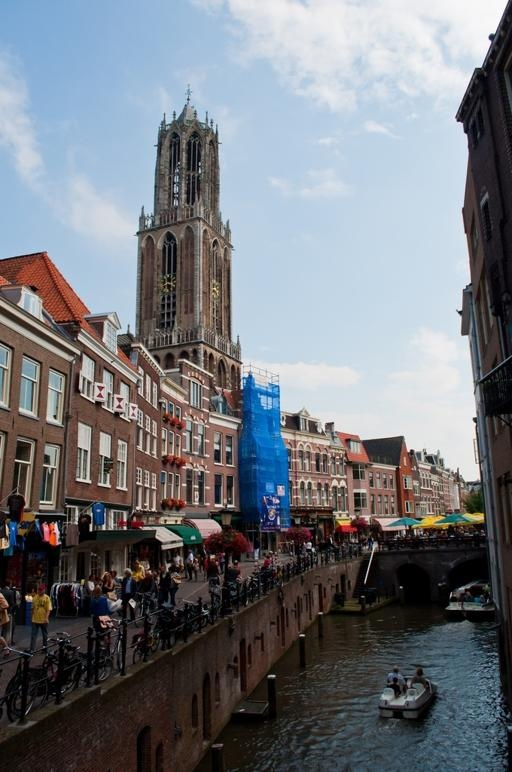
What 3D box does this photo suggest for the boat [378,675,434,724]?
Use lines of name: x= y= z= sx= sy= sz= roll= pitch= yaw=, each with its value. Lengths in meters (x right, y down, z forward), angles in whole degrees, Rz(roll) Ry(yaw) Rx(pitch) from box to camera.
boat: x=5.395 y=11.203 z=20.406 sx=1.284 sy=0.826 sz=2.828 roll=-12 pitch=-17 yaw=30
